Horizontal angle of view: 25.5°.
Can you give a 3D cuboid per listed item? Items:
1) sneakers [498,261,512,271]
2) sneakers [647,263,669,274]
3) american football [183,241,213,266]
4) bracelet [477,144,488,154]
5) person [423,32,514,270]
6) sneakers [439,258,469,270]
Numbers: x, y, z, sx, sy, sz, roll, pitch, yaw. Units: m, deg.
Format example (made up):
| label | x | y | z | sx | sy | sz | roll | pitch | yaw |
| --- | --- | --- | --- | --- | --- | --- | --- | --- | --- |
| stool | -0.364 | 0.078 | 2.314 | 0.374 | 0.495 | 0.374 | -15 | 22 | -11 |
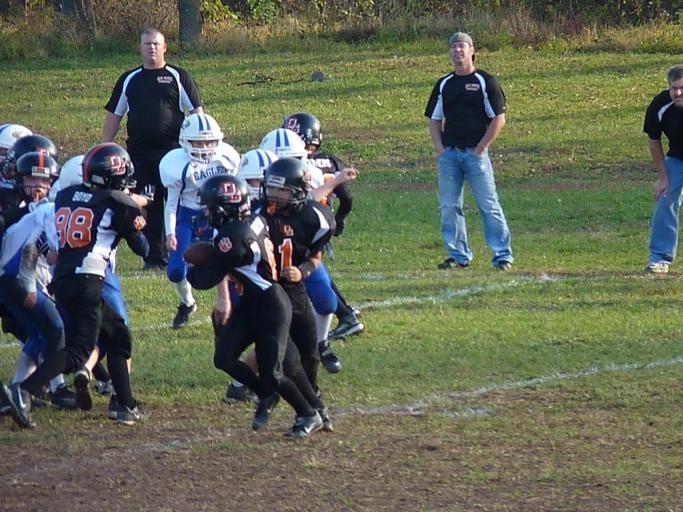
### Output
| label | x | y | z | sx | sy | sz | roll | pitch | yaw |
| --- | --- | --- | --- | --- | --- | --- | --- | --- | --- |
| sneakers | 2.338 | 0.161 | 21.697 | 0.158 | 0.062 | 0.121 | 17 | -27 | 0 |
| sneakers | 4.479 | 0.211 | 21.434 | 0.333 | 0.144 | 0.125 | -9 | 40 | 9 |
| american football | -1.663 | -0.022 | 17.533 | 0.307 | 0.127 | 0.242 | -39 | 20 | -28 |
| bracelet | 2.027 | -1.509 | 21.793 | 0.111 | 0.125 | 0.142 | 27 | -10 | 11 |
| person | 1.832 | -1.507 | 21.901 | 1.474 | 3.246 | 0.894 | 8 | 16 | 24 |
| sneakers | 1.593 | 0.131 | 21.904 | 0.478 | 0.204 | 0.164 | -4 | 29 | -8 |
